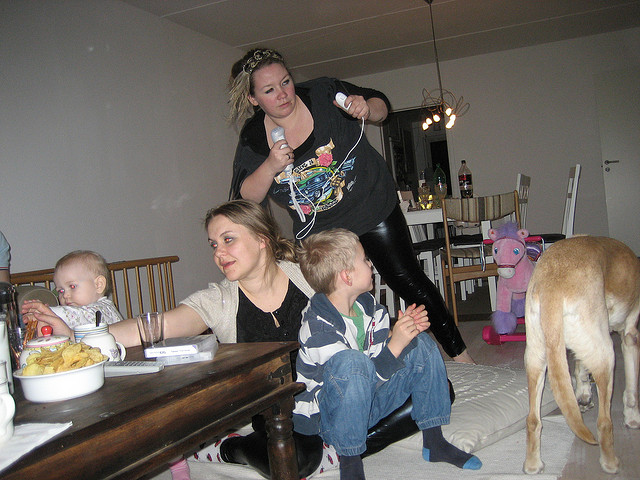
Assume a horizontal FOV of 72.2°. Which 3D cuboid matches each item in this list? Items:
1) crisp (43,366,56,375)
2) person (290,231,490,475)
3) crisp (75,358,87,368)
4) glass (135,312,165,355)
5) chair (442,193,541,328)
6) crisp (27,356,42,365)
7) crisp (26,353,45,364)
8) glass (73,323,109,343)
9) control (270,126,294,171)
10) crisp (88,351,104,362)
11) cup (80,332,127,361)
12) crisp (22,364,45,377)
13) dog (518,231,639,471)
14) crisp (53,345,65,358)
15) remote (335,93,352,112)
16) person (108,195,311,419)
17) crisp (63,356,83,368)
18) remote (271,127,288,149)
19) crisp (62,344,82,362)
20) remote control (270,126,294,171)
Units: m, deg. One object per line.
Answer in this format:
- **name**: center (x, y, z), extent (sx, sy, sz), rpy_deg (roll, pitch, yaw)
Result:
- **crisp**: center (-0.631, 0.302, 1.022), extent (0.017, 0.005, 0.019), rpy_deg (6, 35, -2)
- **person**: center (0.308, 0.446, 2.053), extent (0.866, 1.137, 0.822), rpy_deg (-2, 0, 36)
- **crisp**: center (-0.570, 0.292, 1.047), extent (0.012, 0.005, 0.021), rpy_deg (12, 45, 25)
- **glass**: center (-0.531, 0.288, 1.384), extent (0.068, 0.114, 0.071), rpy_deg (-2, 1, 2)
- **chair**: center (1.459, 0.122, 4.158), extent (0.856, 1.208, 0.915), rpy_deg (0, 15, 34)
- **crisp**: center (-0.695, 0.292, 1.068), extent (0.022, 0.007, 0.022), rpy_deg (-17, -1, -7)
- **crisp**: center (-0.701, 0.281, 1.073), extent (0.028, 0.010, 0.028), rpy_deg (0, 11, 6)
- **glass**: center (-0.674, 0.266, 1.279), extent (0.107, 0.053, 0.069), rpy_deg (-6, 3, -9)
- **control**: center (-0.180, -0.421, 2.051), extent (0.063, 0.222, 0.218), rpy_deg (-5, 0, 13)
- **crisp**: center (-0.557, 0.287, 1.091), extent (0.025, 0.007, 0.025), rpy_deg (10, 29, -36)
- **cup**: center (-0.613, 0.299, 1.272), extent (0.110, 0.107, 0.081), rpy_deg (4, 1, -5)
- **crisp**: center (-0.671, 0.303, 1.026), extent (0.031, 0.017, 0.031), rpy_deg (11, 11, 12)
- **dog**: center (0.975, 0.403, 1.692), extent (0.627, 0.810, 0.335), rpy_deg (-9, 4, -43)
- **crisp**: center (-0.640, 0.270, 1.075), extent (0.018, 0.021, 0.005), rpy_deg (-11, -31, 38)
- **remote**: center (0.105, -0.651, 2.078), extent (0.092, 0.054, 0.028), rpy_deg (44, 15, 26)
- **person**: center (-0.554, 0.230, 1.731), extent (0.854, 0.799, 0.524), rpy_deg (-2, -13, -33)
- **crisp**: center (-0.592, 0.289, 1.045), extent (0.032, 0.020, 0.008), rpy_deg (-28, -16, -33)
- **remote**: center (-0.196, -0.481, 2.077), extent (0.070, 0.130, 0.185), rpy_deg (-6, 3, -5)
- **crisp**: center (-0.602, 0.272, 1.061), extent (0.022, 0.007, 0.032), rpy_deg (6, 28, 18)
- **remote control**: center (-0.167, -0.430, 2.107), extent (0.070, 0.245, 0.065), rpy_deg (-19, -5, 39)
